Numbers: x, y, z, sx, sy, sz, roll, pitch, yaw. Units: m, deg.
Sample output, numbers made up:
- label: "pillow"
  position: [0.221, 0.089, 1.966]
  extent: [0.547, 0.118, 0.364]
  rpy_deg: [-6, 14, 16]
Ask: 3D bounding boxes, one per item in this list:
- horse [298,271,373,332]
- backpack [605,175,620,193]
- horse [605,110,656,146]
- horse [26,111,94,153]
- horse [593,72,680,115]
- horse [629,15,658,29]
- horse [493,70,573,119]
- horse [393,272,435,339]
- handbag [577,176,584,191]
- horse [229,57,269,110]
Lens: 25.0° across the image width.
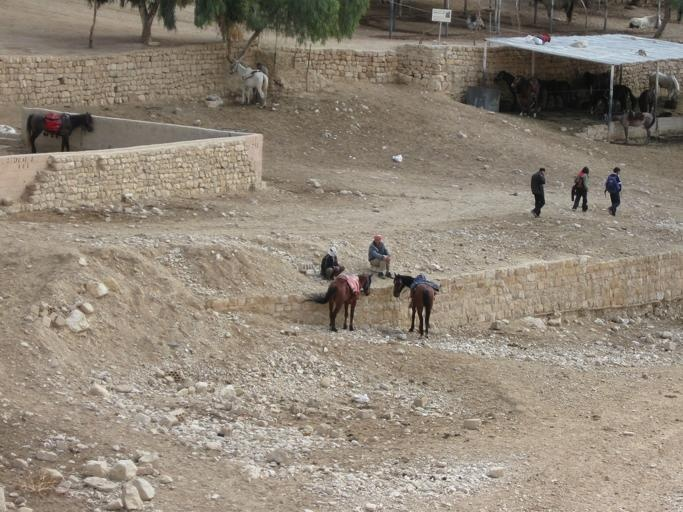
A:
- label: "horse"
  position: [-0.006, 1.080, 37.901]
  extent: [1.023, 1.415, 1.460]
  rpy_deg: [12, 15, 28]
- label: "backpack"
  position: [7.919, -2.101, 44.847]
  extent: [0.409, 0.587, 0.466]
  rpy_deg: [7, 13, 9]
- label: "horse"
  position: [10.323, -4.576, 54.488]
  extent: [1.771, 1.071, 1.216]
  rpy_deg: [3, 13, -7]
- label: "horse"
  position: [-8.180, -3.548, 44.414]
  extent: [1.942, 1.204, 0.564]
  rpy_deg: [4, 16, -2]
- label: "horse"
  position: [11.140, -6.135, 58.162]
  extent: [4.014, 1.408, 1.877]
  rpy_deg: [-7, 18, -40]
- label: "horse"
  position: [13.467, -10.425, 68.862]
  extent: [1.487, 0.568, 0.804]
  rpy_deg: [-1, 15, -24]
- label: "horse"
  position: [7.001, -6.116, 57.133]
  extent: [2.084, 1.410, 4.059]
  rpy_deg: [12, 15, 27]
- label: "horse"
  position: [1.807, 1.278, 38.237]
  extent: [0.938, 1.590, 0.846]
  rpy_deg: [0, 9, 4]
- label: "handbag"
  position: [6.953, -2.113, 44.923]
  extent: [0.244, 0.386, 0.106]
  rpy_deg: [8, 13, 14]
- label: "horse"
  position: [-3.026, -5.703, 50.728]
  extent: [1.099, 1.361, 1.574]
  rpy_deg: [-3, 15, -31]
